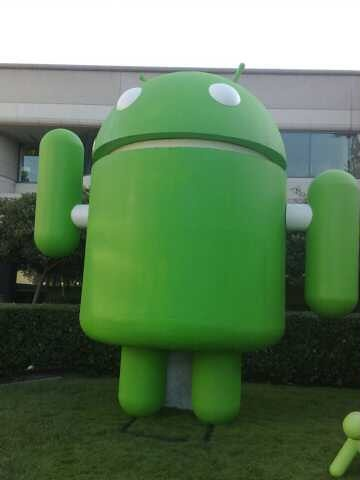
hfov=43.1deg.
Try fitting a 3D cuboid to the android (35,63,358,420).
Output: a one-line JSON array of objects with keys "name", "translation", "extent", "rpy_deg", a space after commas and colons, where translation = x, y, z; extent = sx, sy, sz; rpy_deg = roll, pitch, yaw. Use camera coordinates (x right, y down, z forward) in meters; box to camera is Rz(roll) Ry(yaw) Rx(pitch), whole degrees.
[{"name": "android", "translation": [0.231, 0.261, 4.640], "extent": [3.285, 3.646, 1.810], "rpy_deg": [-6, 20, -3]}]
